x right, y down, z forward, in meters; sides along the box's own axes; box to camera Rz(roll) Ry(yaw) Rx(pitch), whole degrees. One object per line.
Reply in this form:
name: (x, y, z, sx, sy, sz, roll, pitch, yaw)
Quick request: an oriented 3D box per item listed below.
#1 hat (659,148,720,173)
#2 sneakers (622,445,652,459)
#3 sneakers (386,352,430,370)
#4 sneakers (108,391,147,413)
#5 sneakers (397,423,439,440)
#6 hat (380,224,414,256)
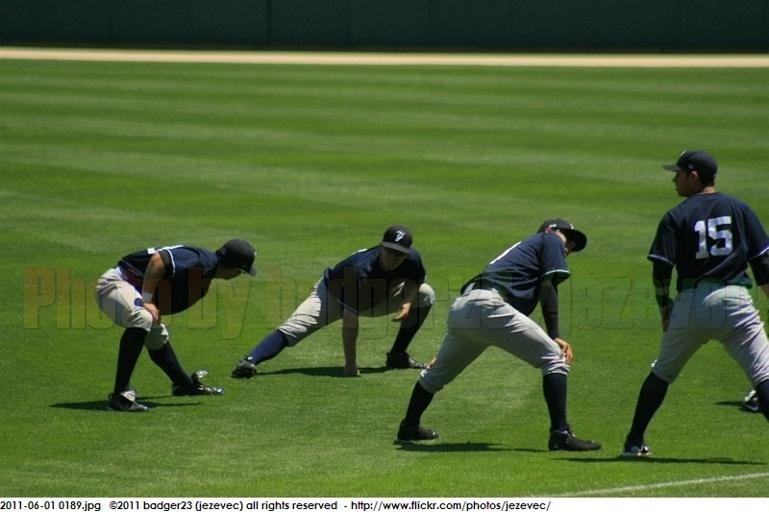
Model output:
hat: (4.398, -1.384, 26.019, 0.657, 0.235, 0.381, 6, 10, 15)
sneakers: (3.573, 2.786, 25.869, 0.428, 0.149, 0.162, -2, 2, -11)
sneakers: (0.412, 1.637, 28.310, 0.783, 0.235, 0.234, 0, 2, -4)
sneakers: (-3.681, 2.153, 26.869, 0.730, 0.256, 0.237, 2, 6, 2)
sneakers: (0.436, 2.542, 26.370, 0.685, 0.224, 0.211, 0, 15, -8)
hat: (0.182, -0.264, 27.660, 0.410, 0.263, 0.485, 25, 14, -8)
